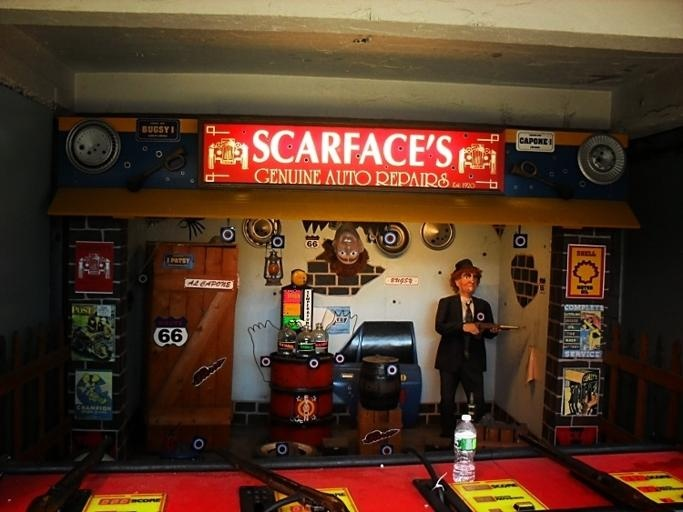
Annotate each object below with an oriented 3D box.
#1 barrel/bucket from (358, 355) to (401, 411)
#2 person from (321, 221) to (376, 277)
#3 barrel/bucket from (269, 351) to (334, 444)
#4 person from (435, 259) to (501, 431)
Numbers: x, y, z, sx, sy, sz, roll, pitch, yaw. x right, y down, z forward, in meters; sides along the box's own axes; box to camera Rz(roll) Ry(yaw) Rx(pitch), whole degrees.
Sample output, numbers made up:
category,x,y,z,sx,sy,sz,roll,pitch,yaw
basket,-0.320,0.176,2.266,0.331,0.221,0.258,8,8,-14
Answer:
category,x,y,z,sx,sy,sz,roll,pitch,yaw
barrel/bucket,0.425,1.372,6.904,0.463,0.499,0.503,2,-4,0
person,0.079,-0.114,8.210,0.629,0.795,0.329,1,-35,-2
barrel/bucket,-0.444,1.631,7.322,0.762,1.084,0.693,1,1,0
person,1.511,1.090,7.795,0.717,2.135,0.722,0,-4,8
